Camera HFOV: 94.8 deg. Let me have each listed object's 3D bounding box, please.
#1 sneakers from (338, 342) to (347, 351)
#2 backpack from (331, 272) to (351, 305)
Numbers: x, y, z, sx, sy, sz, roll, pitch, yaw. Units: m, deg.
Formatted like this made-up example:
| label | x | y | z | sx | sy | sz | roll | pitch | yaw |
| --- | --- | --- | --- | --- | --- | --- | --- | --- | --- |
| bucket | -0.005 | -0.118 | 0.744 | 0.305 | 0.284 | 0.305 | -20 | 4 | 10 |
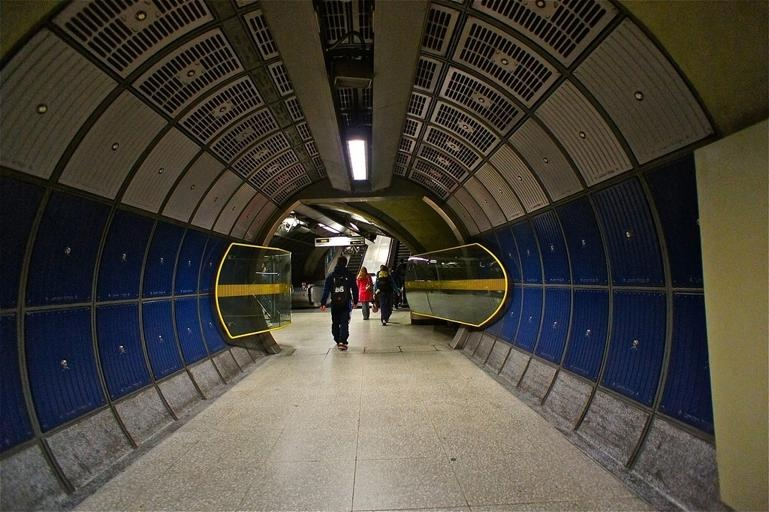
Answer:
| label | x | y | z | sx | sy | sz | roll | pitch | yaw |
| --- | --- | --- | --- | --- | --- | --- | --- | --- | --- |
| sneakers | -1.046 | 2.230 | 8.804 | 0.226 | 0.209 | 0.148 | -1 | 3 | -9 |
| backpack | -1.139 | 0.861 | 9.026 | 0.490 | 0.793 | 0.297 | -1 | 4 | -7 |
